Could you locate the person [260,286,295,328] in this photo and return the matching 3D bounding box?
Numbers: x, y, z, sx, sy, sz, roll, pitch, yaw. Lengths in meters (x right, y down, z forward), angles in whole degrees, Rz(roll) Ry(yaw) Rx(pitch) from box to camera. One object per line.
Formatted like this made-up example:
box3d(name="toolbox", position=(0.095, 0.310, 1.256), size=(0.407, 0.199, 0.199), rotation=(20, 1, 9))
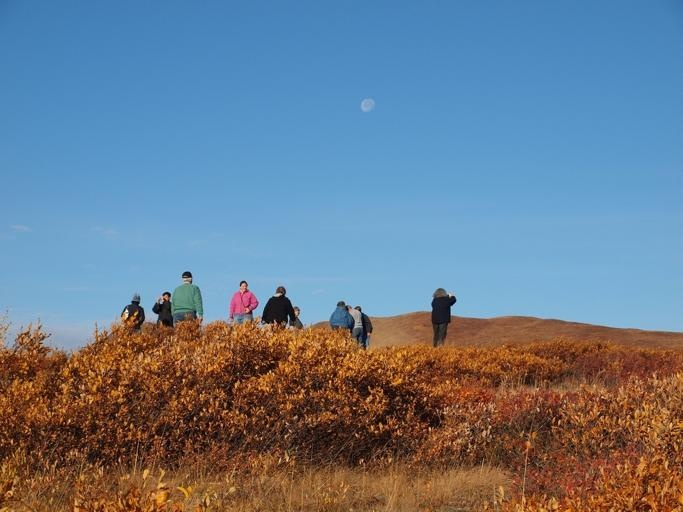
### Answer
box3d(name="person", position=(-1.609, 1.276, 23.841), size=(0.765, 0.942, 0.609), rotation=(-3, -1, -10))
